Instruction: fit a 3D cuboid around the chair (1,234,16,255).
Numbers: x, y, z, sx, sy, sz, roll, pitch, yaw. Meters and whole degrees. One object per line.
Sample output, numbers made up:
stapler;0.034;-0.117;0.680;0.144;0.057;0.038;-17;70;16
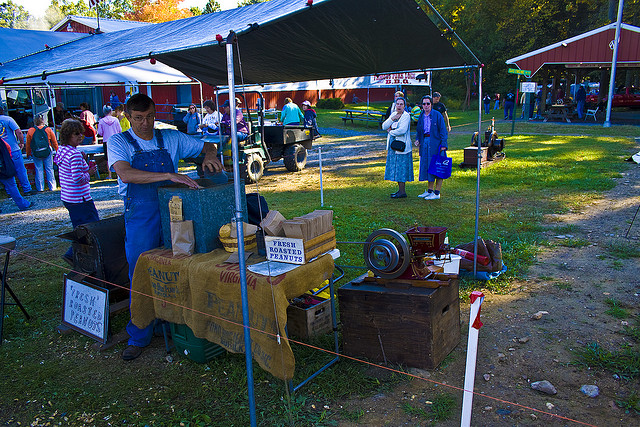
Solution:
chair;-4.246;0.440;6.357;0.145;0.249;0.339;-9;16;-30

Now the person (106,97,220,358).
person;-2.072;0.121;5.993;1.143;3.168;1.230;-5;14;-15

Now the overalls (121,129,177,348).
overalls;-2.163;0.264;5.972;0.688;2.789;0.727;5;-6;-16

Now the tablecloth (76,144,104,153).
tablecloth;-7.255;-2.053;14.799;0.664;0.263;0.775;-10;17;-32

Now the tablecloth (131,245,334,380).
tablecloth;-1.132;1.014;5.460;2.161;1.146;0.667;6;15;24

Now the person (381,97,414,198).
person;1.809;-1.515;10.833;0.683;2.357;0.872;1;13;8

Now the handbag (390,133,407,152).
handbag;1.771;-1.633;10.436;0.251;0.380;0.140;5;11;25

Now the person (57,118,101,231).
person;-3.760;-0.603;7.175;0.477;1.653;0.633;-8;15;-29

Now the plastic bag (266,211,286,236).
plastic bag;-0.495;0.114;5.330;0.207;0.250;0.251;-2;14;-6
